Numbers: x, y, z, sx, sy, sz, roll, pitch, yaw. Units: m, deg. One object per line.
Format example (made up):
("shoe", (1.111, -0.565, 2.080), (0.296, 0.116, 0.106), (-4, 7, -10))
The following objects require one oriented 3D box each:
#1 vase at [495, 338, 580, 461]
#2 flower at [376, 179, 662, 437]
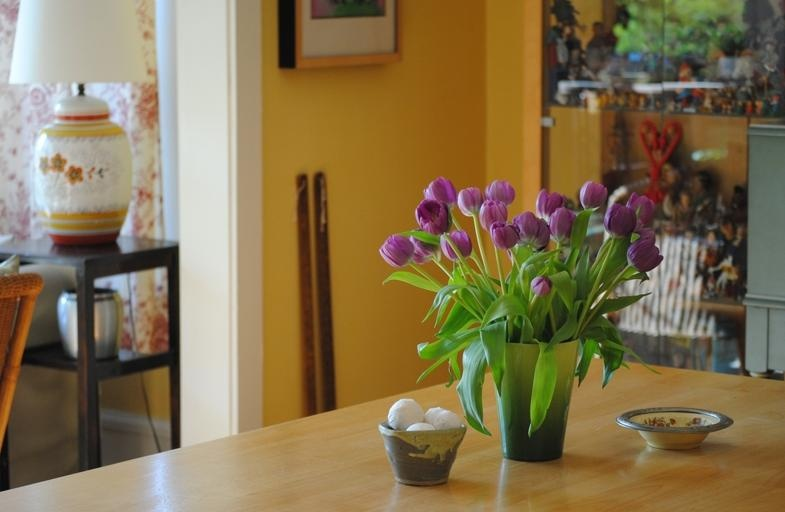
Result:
("vase", (0.302, 0.302, 1.710), (0.217, 0.282, 0.226), (1, -4, -6))
("flower", (0.350, 0.142, 1.750), (0.571, 0.541, 0.481), (-1, 0, -8))
